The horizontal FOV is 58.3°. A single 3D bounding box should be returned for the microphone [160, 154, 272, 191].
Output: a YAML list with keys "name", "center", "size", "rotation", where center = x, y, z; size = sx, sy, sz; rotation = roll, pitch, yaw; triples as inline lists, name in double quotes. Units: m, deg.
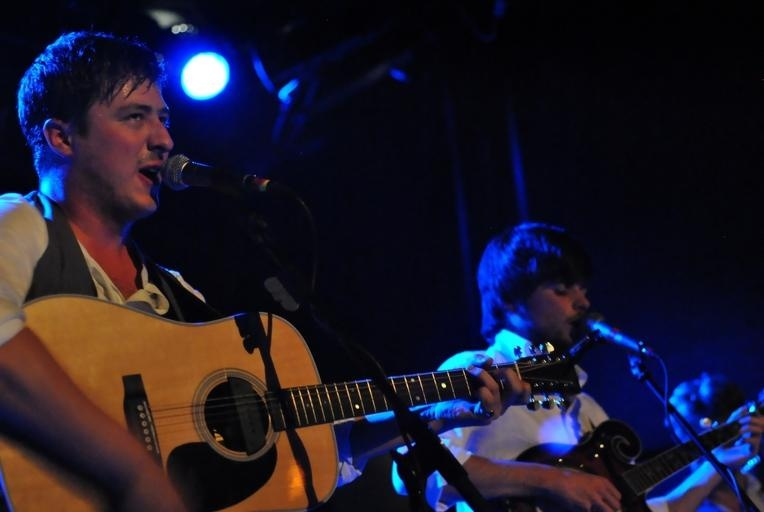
- name: "microphone"
  center: [-0.867, -0.430, 3.473]
  size: [0.777, 0.224, 0.220]
  rotation: [6, 1, 32]
